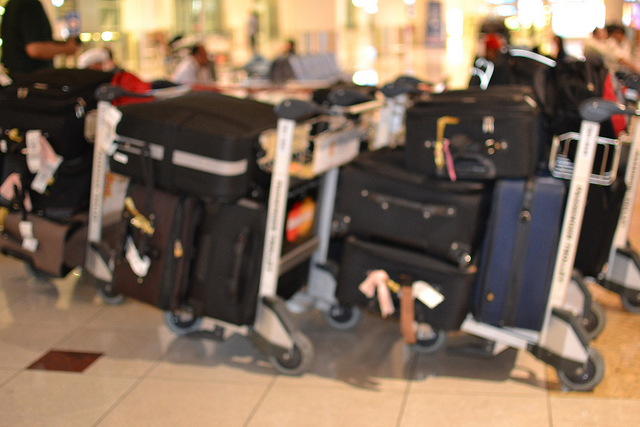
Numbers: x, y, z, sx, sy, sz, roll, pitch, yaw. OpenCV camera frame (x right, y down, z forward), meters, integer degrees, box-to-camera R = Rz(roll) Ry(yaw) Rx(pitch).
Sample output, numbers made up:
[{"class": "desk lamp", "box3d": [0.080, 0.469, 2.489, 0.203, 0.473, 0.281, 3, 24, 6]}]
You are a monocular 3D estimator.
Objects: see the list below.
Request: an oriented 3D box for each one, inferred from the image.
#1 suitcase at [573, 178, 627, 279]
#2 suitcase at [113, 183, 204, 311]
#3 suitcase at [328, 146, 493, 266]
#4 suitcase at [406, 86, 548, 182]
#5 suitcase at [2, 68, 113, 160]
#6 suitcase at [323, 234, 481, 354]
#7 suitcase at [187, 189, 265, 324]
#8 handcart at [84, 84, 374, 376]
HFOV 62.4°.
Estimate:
[{"class": "suitcase", "box3d": [1.617, 0.081, 3.099, 0.143, 0.579, 0.341, 16, 9, 17]}, {"class": "suitcase", "box3d": [-0.914, 0.190, 3.013, 0.445, 0.760, 0.447, 9, -12, -43]}, {"class": "suitcase", "box3d": [0.497, -0.037, 2.834, 0.816, 0.377, 0.656, 14, 10, 14]}, {"class": "suitcase", "box3d": [0.774, -0.404, 2.749, 0.651, 0.470, 0.203, 3, 21, 7]}, {"class": "suitcase", "box3d": [-1.668, -0.670, 3.414, 0.561, 0.371, 0.778, 8, 23, 8]}, {"class": "suitcase", "box3d": [0.478, 0.384, 3.202, 0.824, 0.555, 0.640, 13, 7, 16]}, {"class": "suitcase", "box3d": [-0.540, 0.266, 3.095, 0.492, 0.694, 0.489, 5, -7, 8]}, {"class": "handcart", "box3d": [-0.549, -0.034, 3.397, 1.656, 1.378, 1.119, 14, 14, 25]}]
